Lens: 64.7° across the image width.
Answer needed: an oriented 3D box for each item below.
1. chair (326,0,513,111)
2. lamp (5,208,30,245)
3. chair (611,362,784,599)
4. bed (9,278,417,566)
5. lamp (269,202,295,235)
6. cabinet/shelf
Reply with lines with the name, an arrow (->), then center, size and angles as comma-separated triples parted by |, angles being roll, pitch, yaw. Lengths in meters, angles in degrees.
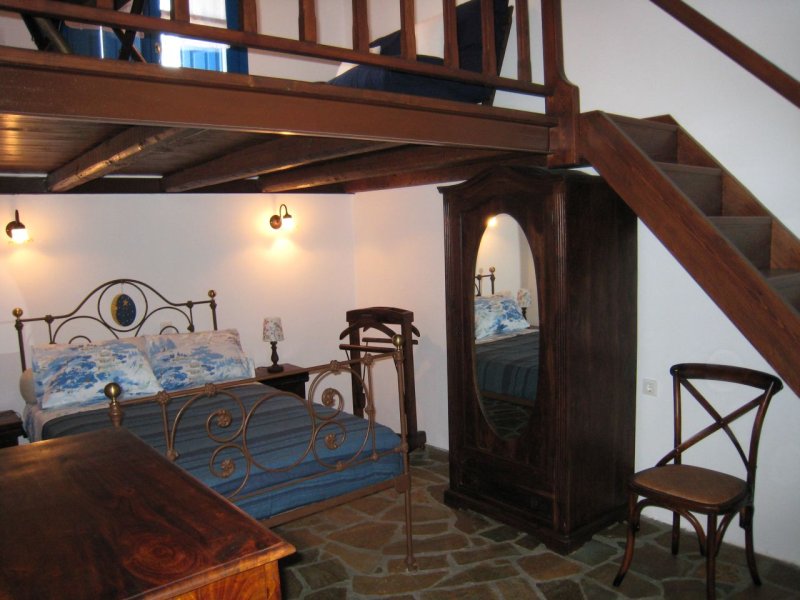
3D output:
chair -> 0.136, -1.504, 3.892 | 1.016, 0.674, 1.086 | 0, 9, 16
lamp -> -2.764, -0.529, 4.564 | 0.144, 0.253, 0.161 | -9, 11, -38
chair -> 1.628, 0.956, 3.408 | 0.645, 1.129, 0.877 | 6, 12, 42
bed -> -1.355, 0.690, 4.184 | 1.593, 1.640, 2.551 | -6, 10, -38
lamp -> -1.064, -0.747, 5.737 | 0.247, 0.255, 0.123 | -7, 10, -27
cabinet/shelf -> 0.827, 0.311, 3.929 | 1.172, 2.256, 0.741 | 2, 9, 24
